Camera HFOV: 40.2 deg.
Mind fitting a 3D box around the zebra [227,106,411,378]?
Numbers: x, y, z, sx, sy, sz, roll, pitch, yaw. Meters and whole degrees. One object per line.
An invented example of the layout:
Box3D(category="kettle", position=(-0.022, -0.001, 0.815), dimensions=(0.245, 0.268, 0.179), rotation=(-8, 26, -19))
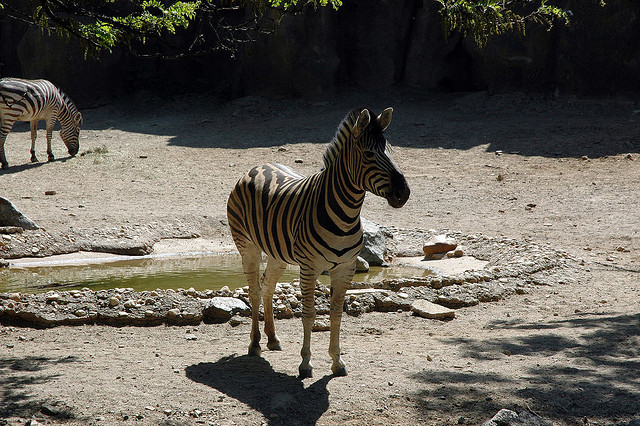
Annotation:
Box3D(category="zebra", position=(-0.143, 0.429, 13.658), dimensions=(2.829, 4.080, 0.975), rotation=(4, 13, 23))
